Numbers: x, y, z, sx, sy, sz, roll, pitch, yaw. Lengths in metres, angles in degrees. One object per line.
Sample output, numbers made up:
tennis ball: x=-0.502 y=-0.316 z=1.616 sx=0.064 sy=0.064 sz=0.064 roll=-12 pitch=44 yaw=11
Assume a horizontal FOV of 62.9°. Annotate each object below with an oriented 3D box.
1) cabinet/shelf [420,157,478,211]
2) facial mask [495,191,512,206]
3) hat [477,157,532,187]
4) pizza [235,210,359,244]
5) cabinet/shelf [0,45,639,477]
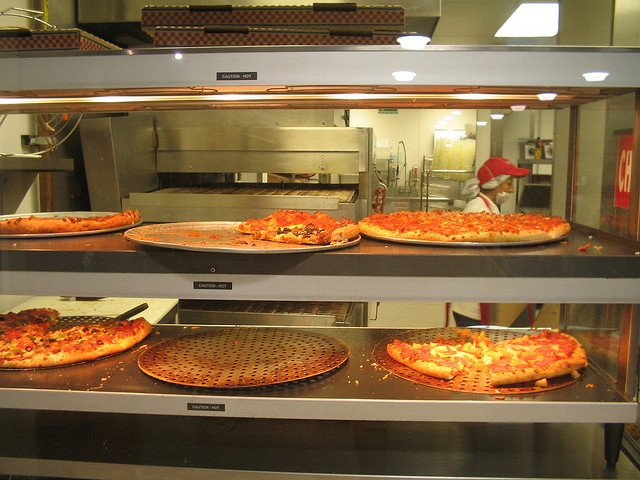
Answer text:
cabinet/shelf: x=1.054 y=-0.448 z=4.561 sx=0.639 sy=0.592 sz=0.358 roll=2 pitch=11 yaw=6
facial mask: x=1.170 y=-0.256 z=3.323 sx=0.147 sy=0.062 sz=0.113 roll=-4 pitch=17 yaw=10
hat: x=1.099 y=-0.423 z=3.221 sx=0.326 sy=0.120 sz=0.176 roll=-7 pitch=13 yaw=-2
pizza: x=-0.094 y=-0.046 z=1.873 sx=0.310 sy=0.040 sz=0.193 roll=6 pitch=10 yaw=30
cabinet/shelf: x=-0.039 y=0.094 z=2.116 sx=3.141 sy=1.131 sz=0.908 roll=0 pitch=6 yaw=7
